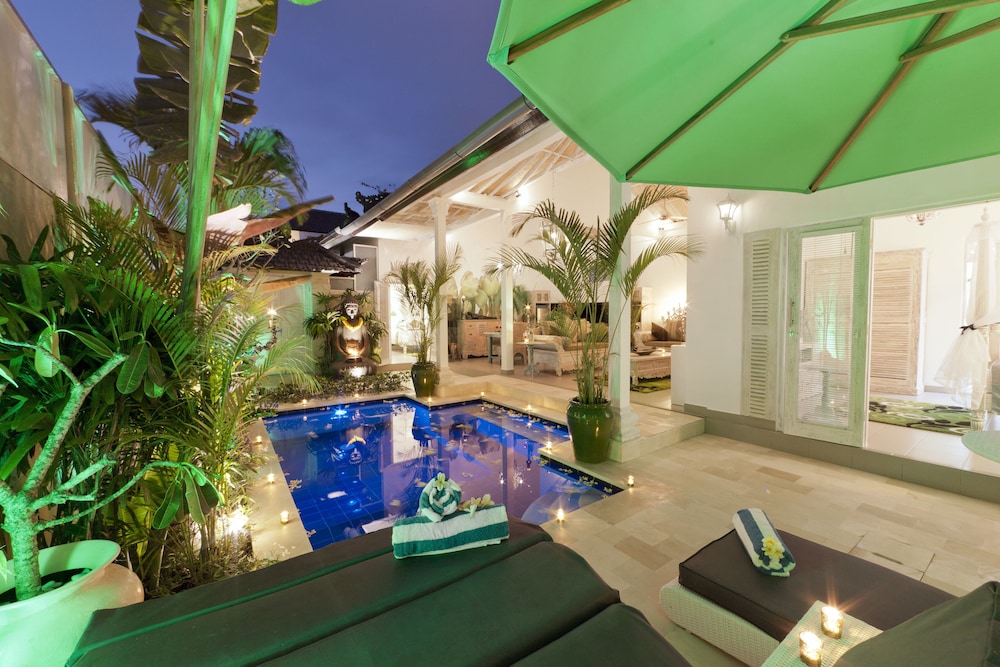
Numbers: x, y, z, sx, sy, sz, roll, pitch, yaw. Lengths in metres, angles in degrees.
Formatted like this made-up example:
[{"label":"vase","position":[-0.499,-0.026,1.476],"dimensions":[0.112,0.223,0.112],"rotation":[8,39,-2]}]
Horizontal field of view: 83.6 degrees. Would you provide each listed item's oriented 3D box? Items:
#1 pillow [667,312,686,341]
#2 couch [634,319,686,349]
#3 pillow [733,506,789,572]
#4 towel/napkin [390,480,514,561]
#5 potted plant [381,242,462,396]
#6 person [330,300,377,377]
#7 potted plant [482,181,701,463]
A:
[{"label":"pillow","position":[3.708,-0.134,11.918],"dimensions":[0.343,0.569,0.601],"rotation":[-1,3,-11]},{"label":"couch","position":[3.380,0.057,11.717],"dimensions":[0.815,0.646,0.775],"rotation":[0,0,-22]},{"label":"pillow","position":[1.769,1.403,3.863],"dimensions":[0.306,0.201,0.595],"rotation":[-1,14,4]},{"label":"towel/napkin","position":[-0.320,1.211,3.485],"dimensions":[0.760,0.418,0.543],"rotation":[31,4,-15]},{"label":"potted plant","position":[-1.222,-0.142,9.166],"dimensions":[1.143,2.257,1.259],"rotation":[2,2,20]},{"label":"person","position":[-2.706,0.113,10.220],"dimensions":[0.669,1.490,0.626],"rotation":[-4,6,-40]},{"label":"potted plant","position":[0.981,-0.044,5.961],"dimensions":[1.218,2.879,0.707],"rotation":[1,6,7]}]
